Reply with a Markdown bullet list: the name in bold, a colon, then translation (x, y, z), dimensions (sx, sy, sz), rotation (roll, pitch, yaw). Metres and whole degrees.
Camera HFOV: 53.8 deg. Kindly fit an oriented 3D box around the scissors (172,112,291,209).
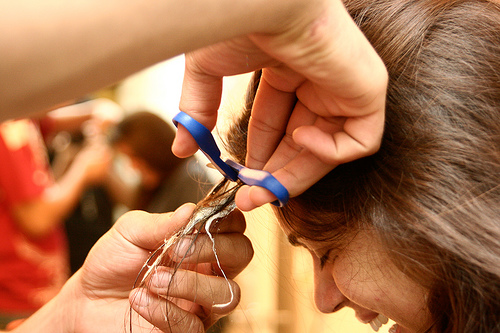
- **scissors**: translation (-0.063, -0.063, 0.896), dimensions (0.097, 0.048, 0.264), rotation (-46, 59, -12)
